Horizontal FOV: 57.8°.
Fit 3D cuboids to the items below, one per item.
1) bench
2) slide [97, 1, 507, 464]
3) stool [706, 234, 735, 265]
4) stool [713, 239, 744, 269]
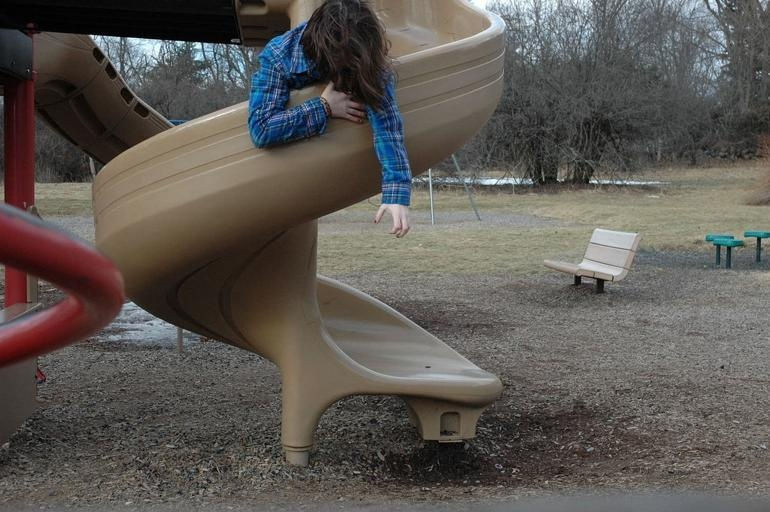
[{"bbox_3d":[2.423,0.033,7.978,0.906,0.563,1.082,-5,6,-12],"label":"bench"},{"bbox_3d":[-0.599,-0.153,5.142,3.144,2.950,2.685,3,4,21],"label":"slide"},{"bbox_3d":[4.707,-0.073,9.805,0.300,0.357,0.482,-1,4,16],"label":"stool"},{"bbox_3d":[4.726,-0.016,9.624,0.355,0.352,0.465,-3,3,-8],"label":"stool"}]
